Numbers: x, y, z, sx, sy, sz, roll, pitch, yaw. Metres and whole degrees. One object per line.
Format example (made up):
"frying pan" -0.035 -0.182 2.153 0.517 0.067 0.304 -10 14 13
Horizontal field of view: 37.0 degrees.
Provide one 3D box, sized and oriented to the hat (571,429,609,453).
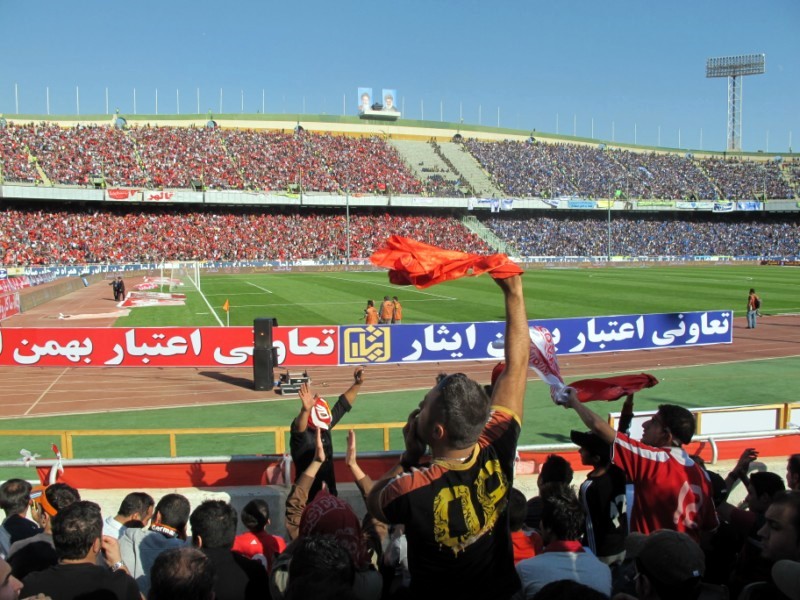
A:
"hat" 4.324 3.189 27.118 0.752 0.387 0.439 15 16 19
